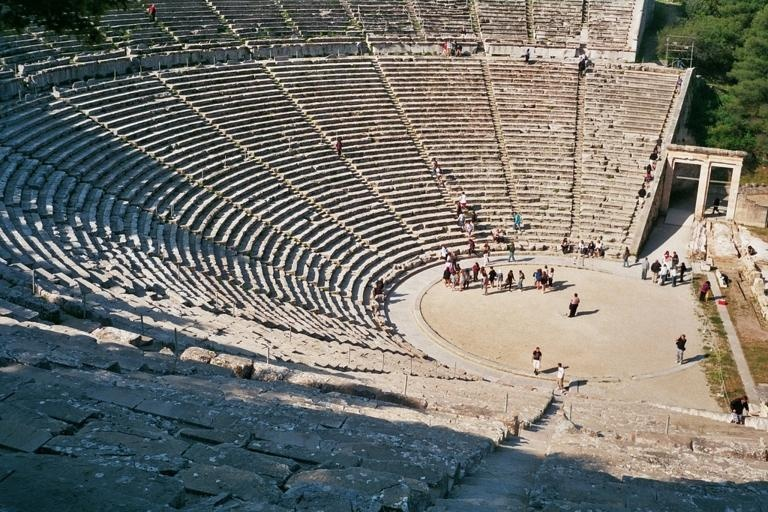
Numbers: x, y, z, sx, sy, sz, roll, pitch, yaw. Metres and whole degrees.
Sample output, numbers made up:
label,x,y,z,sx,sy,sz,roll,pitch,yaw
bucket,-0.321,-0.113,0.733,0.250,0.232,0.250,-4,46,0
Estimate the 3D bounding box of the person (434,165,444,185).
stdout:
label,x,y,z,sx,sy,sz,roll,pitch,yaw
person,3.499,-4.987,36.618,0.569,1.092,1.174,-9,39,7
